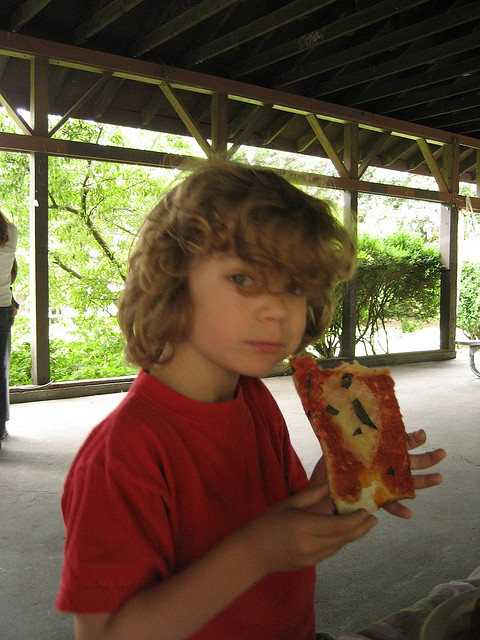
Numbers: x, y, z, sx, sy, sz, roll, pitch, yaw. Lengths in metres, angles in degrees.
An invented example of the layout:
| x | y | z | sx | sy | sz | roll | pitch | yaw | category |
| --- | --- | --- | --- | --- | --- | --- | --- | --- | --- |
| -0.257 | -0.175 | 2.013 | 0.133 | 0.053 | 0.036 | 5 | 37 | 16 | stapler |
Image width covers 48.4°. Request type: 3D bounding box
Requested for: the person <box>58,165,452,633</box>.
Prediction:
| x | y | z | sx | sy | sz | roll | pitch | yaw | category |
| --- | --- | --- | --- | --- | --- | --- | --- | --- | --- |
| 0.009 | 0.059 | 0.869 | 0.432 | 0.676 | 0.577 | 0 | 0 | 29 | person |

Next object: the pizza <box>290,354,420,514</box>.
| x | y | z | sx | sy | sz | roll | pitch | yaw | category |
| --- | --- | --- | --- | --- | --- | --- | --- | --- | --- |
| 0.197 | 0.192 | 0.950 | 0.200 | 0.263 | 0.079 | -6 | -16 | -10 | pizza |
